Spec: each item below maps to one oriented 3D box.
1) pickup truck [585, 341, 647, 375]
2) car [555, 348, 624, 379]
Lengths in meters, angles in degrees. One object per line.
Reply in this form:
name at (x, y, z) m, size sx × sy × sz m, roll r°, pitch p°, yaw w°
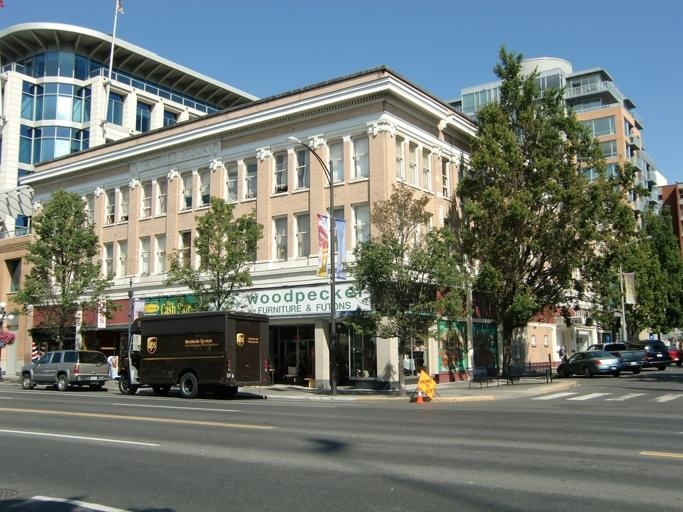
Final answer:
pickup truck at (17.473, 6.508, 49.422) m, size 1.838 × 1.472 × 3.914 m, roll 0°, pitch -2°, yaw -14°
car at (14.498, 6.207, 45.270) m, size 3.282 × 1.489 × 1.391 m, roll -9°, pitch -11°, yaw 38°
